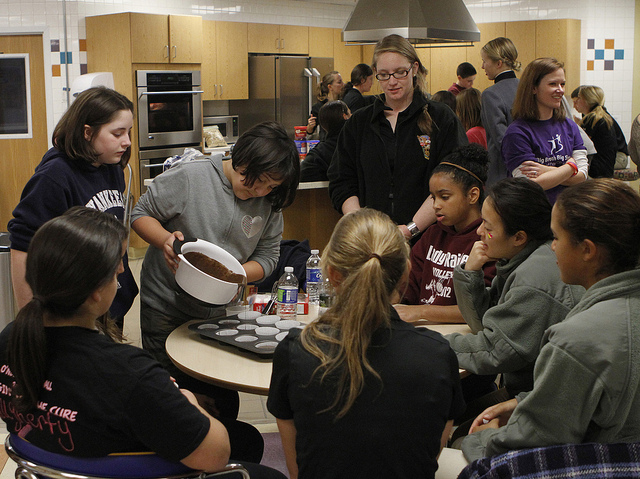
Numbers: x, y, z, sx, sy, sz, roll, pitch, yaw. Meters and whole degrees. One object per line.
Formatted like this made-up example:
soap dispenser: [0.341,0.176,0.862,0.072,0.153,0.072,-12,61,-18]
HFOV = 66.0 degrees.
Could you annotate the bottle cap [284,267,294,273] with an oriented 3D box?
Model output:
bottle cap: [-0.149,0.137,2.323,0.027,0.021,0.027,6,8,38]

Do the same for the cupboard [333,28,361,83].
cupboard: [0.421,-3.135,8.424,0.366,1.094,0.563,13,18,37]

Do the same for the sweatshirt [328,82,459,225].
sweatshirt: [0.479,-0.583,3.149,0.834,0.868,0.486,8,39,10]

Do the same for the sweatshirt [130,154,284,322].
sweatshirt: [-0.496,-0.116,2.329,0.526,0.856,0.525,8,19,14]

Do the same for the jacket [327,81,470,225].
jacket: [0.474,-0.531,3.130,0.817,0.913,0.390,4,10,14]

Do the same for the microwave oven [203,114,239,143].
microwave oven: [-1.541,-1.675,7.676,0.556,0.437,0.375,-4,-2,-1]

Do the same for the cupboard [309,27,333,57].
cupboard: [0.095,-3.347,8.330,0.208,0.447,0.442,-2,18,-8]

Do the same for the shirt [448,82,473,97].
shirt: [1.784,-1.963,6.455,0.196,0.144,0.276,-1,10,-3]

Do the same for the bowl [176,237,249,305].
bowl: [-0.484,0.131,2.004,0.317,0.124,0.297,29,14,-8]

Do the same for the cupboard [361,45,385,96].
cupboard: [0.839,-2.956,8.654,0.439,0.863,0.478,17,33,34]

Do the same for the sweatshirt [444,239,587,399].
sweatshirt: [0.675,0.235,1.965,0.446,0.679,0.473,3,18,-3]

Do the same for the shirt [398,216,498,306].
shirt: [0.651,0.012,2.479,0.434,0.480,0.412,8,20,21]

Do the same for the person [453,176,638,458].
person: [0.792,0.170,1.723,0.616,1.037,0.689,6,7,37]

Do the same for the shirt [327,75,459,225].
shirt: [0.484,-0.529,3.127,0.843,0.871,0.457,6,9,15]

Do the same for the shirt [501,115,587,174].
shirt: [1.548,-0.652,3.480,0.581,0.592,0.349,-6,5,-14]

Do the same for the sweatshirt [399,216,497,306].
sweatshirt: [0.601,0.146,2.387,0.400,0.533,0.287,8,19,-6]

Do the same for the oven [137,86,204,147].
oven: [-2.116,-1.491,6.622,0.960,0.981,0.710,-8,12,-42]
